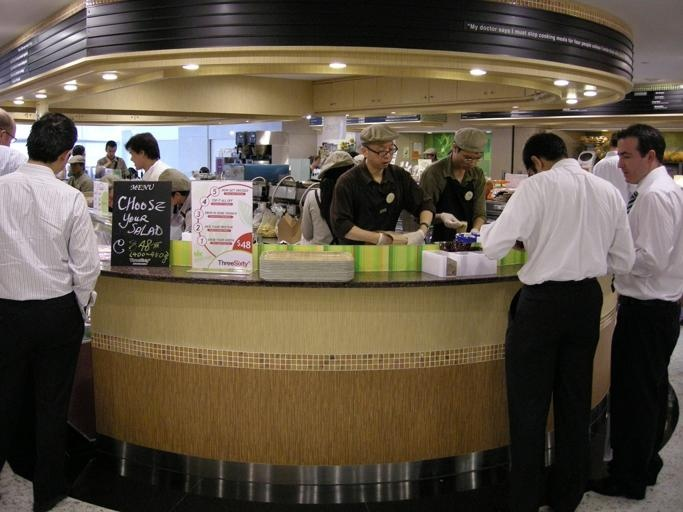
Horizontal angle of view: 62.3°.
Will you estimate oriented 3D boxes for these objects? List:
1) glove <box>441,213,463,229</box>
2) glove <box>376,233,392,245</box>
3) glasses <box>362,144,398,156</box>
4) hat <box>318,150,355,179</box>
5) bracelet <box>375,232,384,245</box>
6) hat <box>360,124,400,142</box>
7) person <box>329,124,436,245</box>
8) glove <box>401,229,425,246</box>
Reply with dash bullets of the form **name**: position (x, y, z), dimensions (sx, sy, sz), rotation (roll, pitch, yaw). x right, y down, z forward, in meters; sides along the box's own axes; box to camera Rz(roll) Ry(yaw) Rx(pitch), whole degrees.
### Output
- **glove**: position (0.860, -0.278, 4.382), dimensions (0.167, 0.099, 0.284), rotation (2, 15, 2)
- **glove**: position (0.306, -0.124, 3.988), dimensions (0.068, 0.096, 0.092), rotation (-5, 9, -4)
- **glasses**: position (0.267, -0.793, 4.202), dimensions (0.216, 0.080, 0.090), rotation (1, 14, -1)
- **hat**: position (-0.036, -0.783, 4.831), dimensions (0.272, 0.113, 0.190), rotation (-16, 11, -34)
- **bracelet**: position (0.276, -0.124, 3.991), dimensions (0.081, 0.113, 0.061), rotation (3, 6, 36)
- **hat**: position (0.278, -0.901, 4.181), dimensions (0.261, 0.135, 0.213), rotation (1, 14, 1)
- **person**: position (0.315, -0.494, 4.293), dimensions (0.803, 0.971, 0.780), rotation (-7, 16, -29)
- **glove**: position (0.512, -0.135, 4.032), dimensions (0.123, 0.113, 0.093), rotation (12, -5, -29)
